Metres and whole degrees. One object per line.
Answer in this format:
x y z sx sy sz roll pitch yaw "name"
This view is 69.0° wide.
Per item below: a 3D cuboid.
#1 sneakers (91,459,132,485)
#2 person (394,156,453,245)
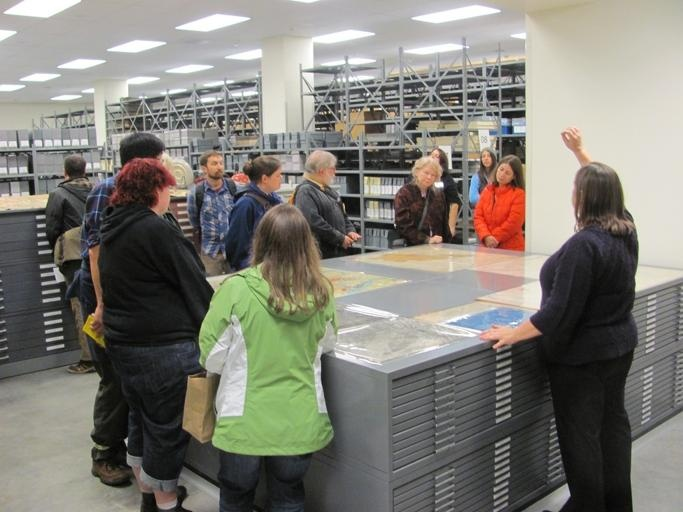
-1.373 1.266 2.963 0.239 0.128 0.111 2 1 31 "sneakers"
0.770 -0.495 4.489 0.447 0.792 0.560 7 15 44 "person"
